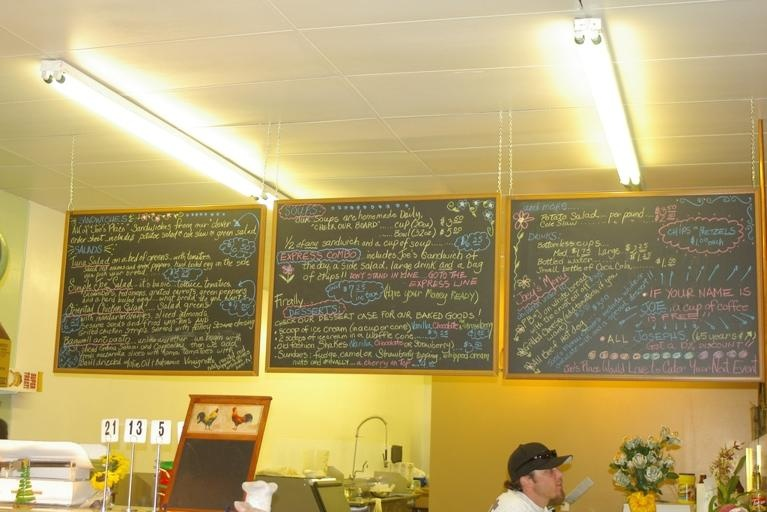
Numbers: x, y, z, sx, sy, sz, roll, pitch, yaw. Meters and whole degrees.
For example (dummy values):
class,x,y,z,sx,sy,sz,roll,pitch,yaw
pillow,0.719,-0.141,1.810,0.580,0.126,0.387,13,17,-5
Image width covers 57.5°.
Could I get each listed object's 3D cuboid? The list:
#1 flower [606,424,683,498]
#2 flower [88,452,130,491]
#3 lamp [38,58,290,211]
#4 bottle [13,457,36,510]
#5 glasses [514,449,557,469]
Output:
class,x,y,z,sx,sy,sz,roll,pitch,yaw
flower,2.104,1.590,5.456,0.457,0.517,0.802,-8,-19,34
flower,-1.794,1.399,4.549,0.222,0.230,0.406,9,-17,-20
lamp,-1.557,-0.839,5.185,0.315,0.342,2.098,-7,-18,30
bottle,-2.231,1.408,4.358,0.120,0.275,0.269,11,-18,-24
glasses,1.092,1.396,4.880,0.161,0.043,0.155,-16,-8,-13
